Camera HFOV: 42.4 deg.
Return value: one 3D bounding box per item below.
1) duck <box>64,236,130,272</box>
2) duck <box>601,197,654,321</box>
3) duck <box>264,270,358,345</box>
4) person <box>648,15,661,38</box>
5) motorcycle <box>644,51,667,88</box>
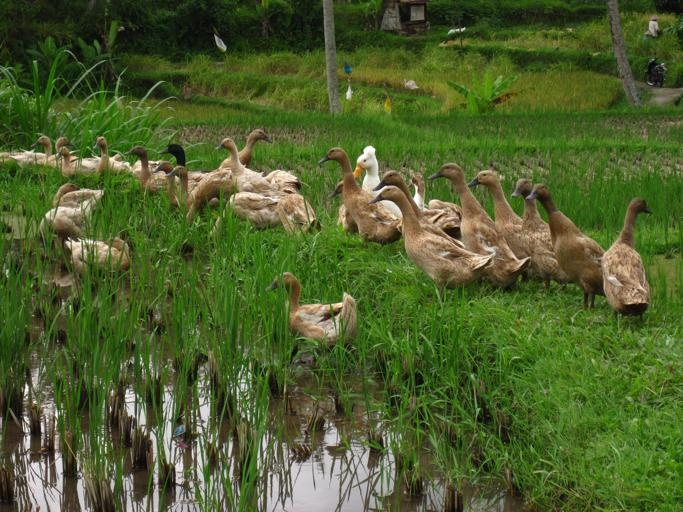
[{"bbox_3d":[-2.565,-0.017,9.268,0.610,0.338,0.514,17,1,-3],"label":"duck"},{"bbox_3d":[2.823,0.084,8.762,0.467,1.100,0.832,-1,7,20],"label":"duck"},{"bbox_3d":[-0.266,0.537,8.883,0.837,0.759,0.444,-3,6,0],"label":"duck"},{"bbox_3d":[12.743,-9.287,35.967,0.481,0.906,2.446,0,8,22],"label":"person"},{"bbox_3d":[10.565,-6.285,29.791,0.556,0.780,1.105,-6,33,-9],"label":"motorcycle"}]
